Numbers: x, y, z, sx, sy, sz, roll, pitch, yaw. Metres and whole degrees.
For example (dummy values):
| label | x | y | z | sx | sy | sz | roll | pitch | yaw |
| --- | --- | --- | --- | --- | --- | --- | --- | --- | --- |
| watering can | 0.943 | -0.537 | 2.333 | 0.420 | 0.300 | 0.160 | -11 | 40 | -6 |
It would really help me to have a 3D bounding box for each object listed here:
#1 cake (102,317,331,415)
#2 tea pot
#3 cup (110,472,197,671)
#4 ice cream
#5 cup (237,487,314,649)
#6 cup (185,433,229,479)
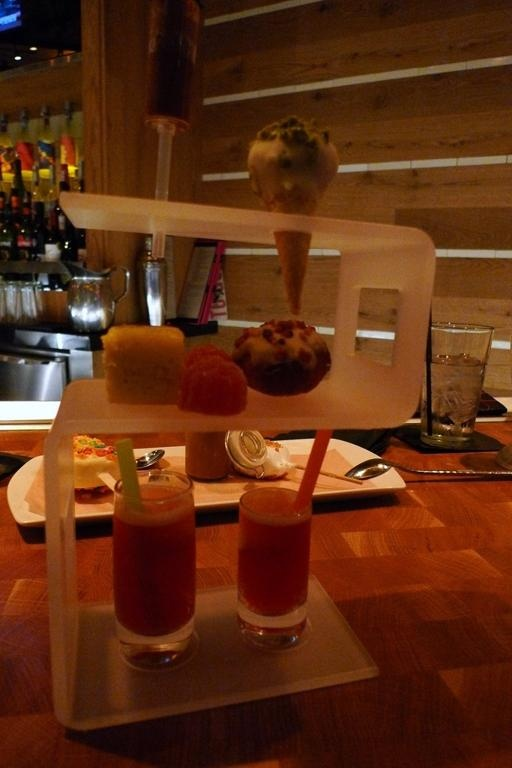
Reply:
| label | x | y | z | sx | sy | sz | roll | pitch | yaw |
| --- | --- | --- | --- | --- | --- | --- | --- | --- | --- |
| cake | -0.030 | -0.017 | 0.522 | 0.197 | 0.074 | 0.122 | -6 | 16 | -32 |
| tea pot | -0.597 | -0.309 | 2.176 | 0.202 | 0.255 | 0.207 | 2 | 13 | 0 |
| cup | -0.090 | 0.163 | 0.525 | 0.071 | 0.150 | 0.087 | 0 | 14 | -9 |
| ice cream | 0.033 | -0.151 | 0.529 | 0.079 | 0.162 | 0.081 | 4 | 8 | 38 |
| cup | 0.016 | 0.174 | 0.539 | 0.067 | 0.128 | 0.050 | 2 | 13 | -2 |
| cup | -0.071 | 0.104 | 0.840 | 0.067 | 0.074 | 0.066 | 0 | 3 | 0 |
